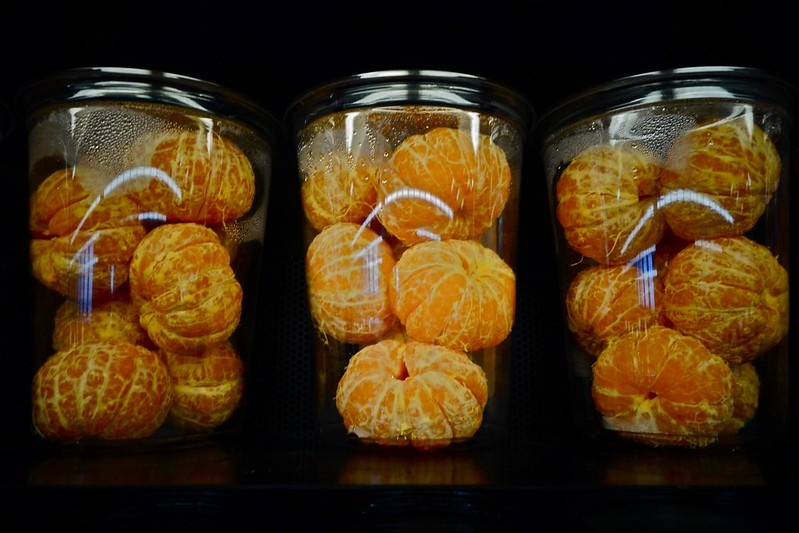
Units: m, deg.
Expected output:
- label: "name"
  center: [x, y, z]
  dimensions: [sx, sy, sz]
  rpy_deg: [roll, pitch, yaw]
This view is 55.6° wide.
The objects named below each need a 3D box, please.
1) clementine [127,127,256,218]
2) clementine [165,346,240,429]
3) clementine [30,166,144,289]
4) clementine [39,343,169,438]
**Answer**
- label: "clementine"
  center: [-0.347, -0.144, 1.246]
  dimensions: [0.174, 0.116, 0.215]
  rpy_deg: [24, 24, 30]
- label: "clementine"
  center: [-0.313, 0.193, 1.276]
  dimensions: [0.118, 0.134, 0.126]
  rpy_deg: [-14, -4, -13]
- label: "clementine"
  center: [-0.488, -0.058, 1.218]
  dimensions: [0.205, 0.154, 0.103]
  rpy_deg: [-3, 12, 4]
- label: "clementine"
  center: [-0.452, 0.184, 1.144]
  dimensions: [0.180, 0.133, 0.137]
  rpy_deg: [-4, -10, 24]
